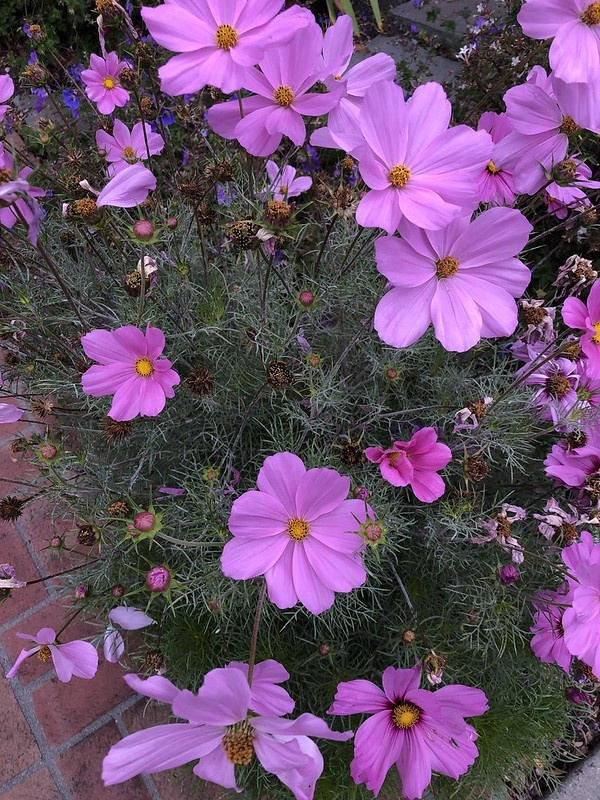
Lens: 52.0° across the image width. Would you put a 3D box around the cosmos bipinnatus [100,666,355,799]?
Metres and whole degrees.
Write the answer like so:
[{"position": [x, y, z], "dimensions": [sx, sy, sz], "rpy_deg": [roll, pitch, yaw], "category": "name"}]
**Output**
[{"position": [-0.102, 0.460, 0.855], "dimensions": [0.295, 0.120, 0.279], "rpy_deg": [8, -69, -9], "category": "cosmos bipinnatus"}]
